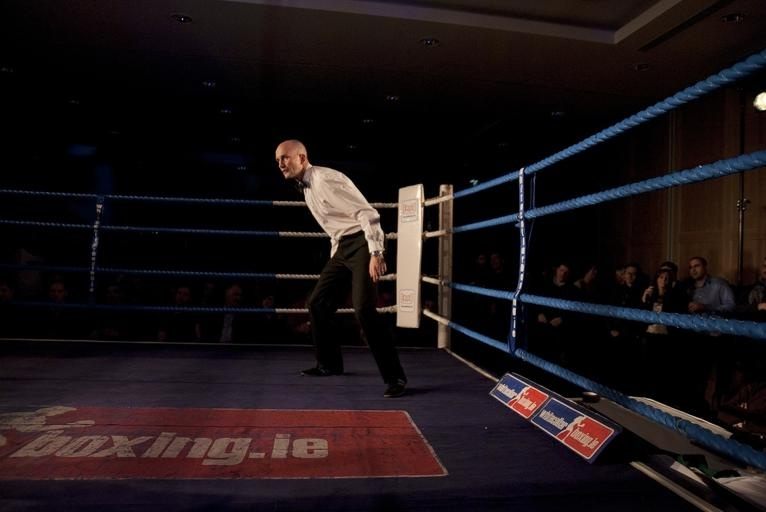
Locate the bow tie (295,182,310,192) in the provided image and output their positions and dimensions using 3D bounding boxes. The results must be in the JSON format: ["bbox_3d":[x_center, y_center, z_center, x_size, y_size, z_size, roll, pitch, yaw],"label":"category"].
[{"bbox_3d":[-0.559,-0.476,3.985,0.103,0.029,0.063,7,-31,17],"label":"bow tie"}]

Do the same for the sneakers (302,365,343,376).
[{"bbox_3d":[-0.434,0.812,4.068,0.306,0.088,0.087,4,-10,-3],"label":"sneakers"}]

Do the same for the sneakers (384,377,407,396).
[{"bbox_3d":[0.083,0.842,3.707,0.165,0.098,0.109,0,12,-15],"label":"sneakers"}]

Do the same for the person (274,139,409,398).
[{"bbox_3d":[-0.245,0.056,3.840,1.056,1.609,0.356,14,17,40],"label":"person"}]
